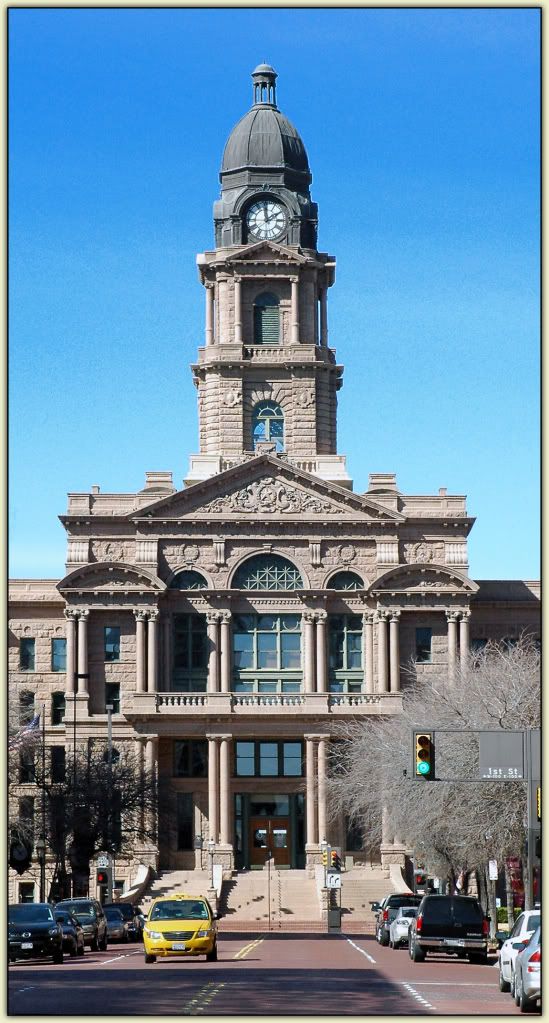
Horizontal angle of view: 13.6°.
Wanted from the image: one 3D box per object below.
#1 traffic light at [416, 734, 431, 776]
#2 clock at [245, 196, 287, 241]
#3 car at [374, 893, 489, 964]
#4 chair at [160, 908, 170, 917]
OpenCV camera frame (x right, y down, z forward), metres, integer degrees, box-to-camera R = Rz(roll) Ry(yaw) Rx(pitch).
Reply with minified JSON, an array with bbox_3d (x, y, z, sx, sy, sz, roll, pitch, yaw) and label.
[{"bbox_3d":[3.095,4.877,46.455,0.305,0.817,0.363,-2,-10,4],"label":"traffic light"},{"bbox_3d":[-0.257,-12.379,96.503,1.274,1.856,0.161,2,-11,0],"label":"clock"},{"bbox_3d":[3.853,8.928,49.667,1.574,1.372,1.067,-2,-11,0],"label":"car"},{"bbox_3d":[-2.273,8.367,48.139,0.116,0.158,0.243,-2,-13,-3],"label":"chair"}]
